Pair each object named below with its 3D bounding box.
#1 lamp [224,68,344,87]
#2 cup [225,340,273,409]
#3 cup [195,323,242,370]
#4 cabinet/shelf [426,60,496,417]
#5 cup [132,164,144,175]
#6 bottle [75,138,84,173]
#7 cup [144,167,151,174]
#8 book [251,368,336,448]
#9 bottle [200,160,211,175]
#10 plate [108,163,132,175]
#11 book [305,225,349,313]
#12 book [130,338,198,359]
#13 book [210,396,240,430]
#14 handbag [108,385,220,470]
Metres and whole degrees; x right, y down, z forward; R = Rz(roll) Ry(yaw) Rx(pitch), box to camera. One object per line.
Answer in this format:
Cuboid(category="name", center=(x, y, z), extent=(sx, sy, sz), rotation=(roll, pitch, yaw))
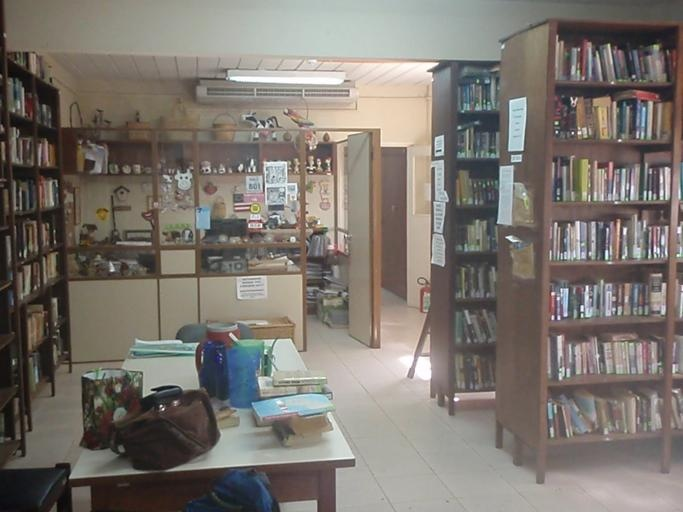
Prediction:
Cuboid(category="lamp", center=(-0.740, -2.477, 7.768), extent=(1.561, 0.211, 0.887), rotation=(1, 9, 3))
Cuboid(category="cup", center=(-0.505, 0.598, 3.037), extent=(0.278, 0.469, 0.277), rotation=(1, 3, 0))
Cuboid(category="cup", center=(-0.717, 0.525, 3.221), extent=(0.296, 0.294, 0.186), rotation=(5, 7, 39))
Cuboid(category="cabinet/shelf", center=(1.116, -0.173, 5.130), extent=(0.643, 3.126, 0.698), rotation=(2, 9, 10))
Cuboid(category="cup", center=(-2.297, -0.976, 6.368), extent=(0.082, 0.114, 0.131), rotation=(-1, -4, 32))
Cuboid(category="bottle", center=(-2.960, -1.140, 6.370), extent=(0.074, 0.352, 0.107), rotation=(3, 9, 19))
Cuboid(category="cup", center=(-2.190, -0.966, 6.339), extent=(0.072, 0.071, 0.069), rotation=(1, 10, 0))
Cuboid(category="book", center=(-0.240, 0.719, 2.734), extent=(0.304, 0.124, 0.309), rotation=(-2, 16, -15))
Cuboid(category="bottle", center=(-1.538, -1.005, 6.376), extent=(0.117, 0.151, 0.148), rotation=(0, -10, -11))
Cuboid(category="plate", center=(-2.508, -0.979, 6.348), extent=(0.222, 0.096, 0.136), rotation=(3, 3, 2))
Cuboid(category="book", center=(-0.287, 0.172, 8.957), extent=(0.660, 1.294, 0.635), rotation=(-3, 9, -20))
Cuboid(category="book", center=(-1.159, 0.606, 3.695), extent=(0.354, 0.085, 0.359), rotation=(0, 2, -17))
Cuboid(category="book", center=(-0.579, 0.759, 2.763), extent=(0.120, 0.040, 0.130), rotation=(-1, 12, -33))
Cuboid(category="handbag", center=(-0.820, 0.750, 2.557), extent=(0.378, 0.251, 0.483), rotation=(-4, 8, 38))
